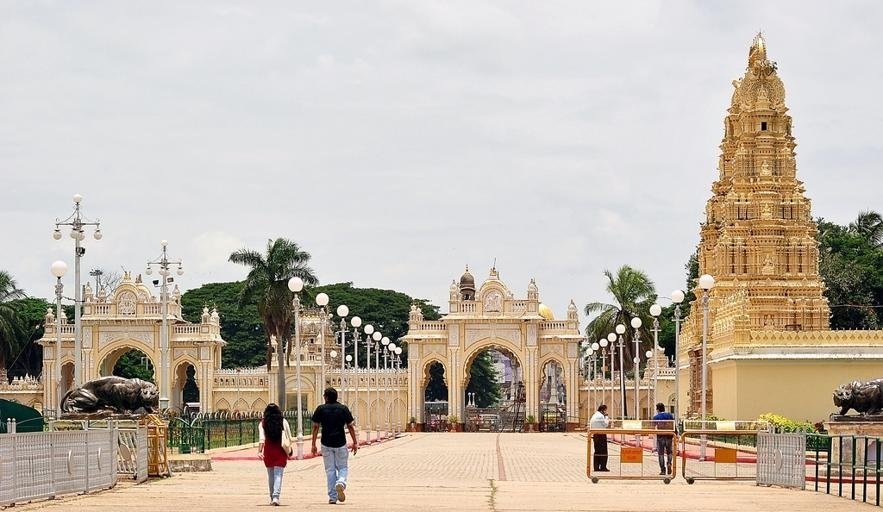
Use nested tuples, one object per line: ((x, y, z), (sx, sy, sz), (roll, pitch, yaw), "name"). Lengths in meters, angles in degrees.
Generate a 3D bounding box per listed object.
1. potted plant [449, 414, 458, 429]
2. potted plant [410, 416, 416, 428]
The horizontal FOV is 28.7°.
((0.750, 11.297, 117.869), (0.843, 0.907, 0.730), (0, -10, -2), "potted plant")
((-2.014, 11.303, 119.153), (0.497, 0.723, 0.297), (-3, -10, 15), "potted plant")
